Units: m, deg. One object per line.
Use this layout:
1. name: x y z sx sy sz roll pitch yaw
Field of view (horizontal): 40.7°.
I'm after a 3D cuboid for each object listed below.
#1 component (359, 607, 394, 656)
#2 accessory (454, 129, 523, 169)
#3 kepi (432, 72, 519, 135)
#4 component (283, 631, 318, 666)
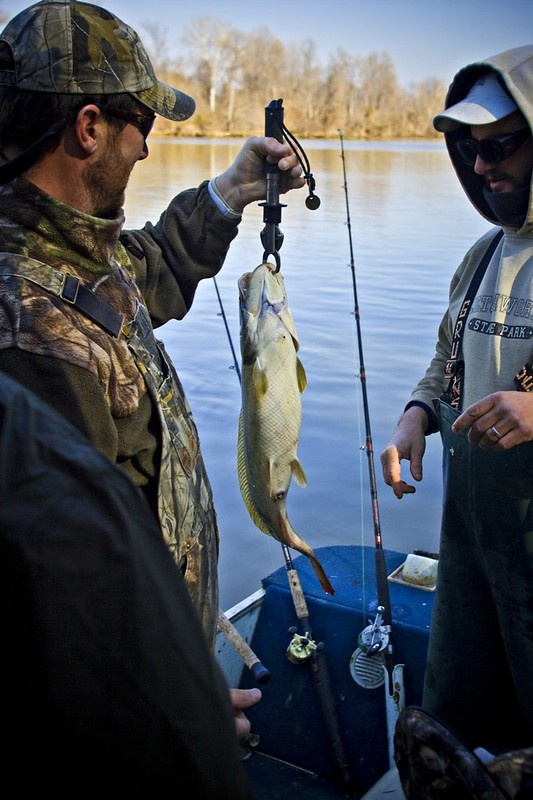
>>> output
1. component: 0.454 0.960 2.984 0.133 0.091 0.192 -4 29 -3
2. accessory: 0.742 -0.821 2.339 0.172 0.053 0.162 -29 25 -27
3. kepi: 0.696 -0.964 2.344 0.272 0.097 0.158 -27 19 -26
4. component: 0.160 1.115 3.306 0.160 0.137 0.119 10 24 0
